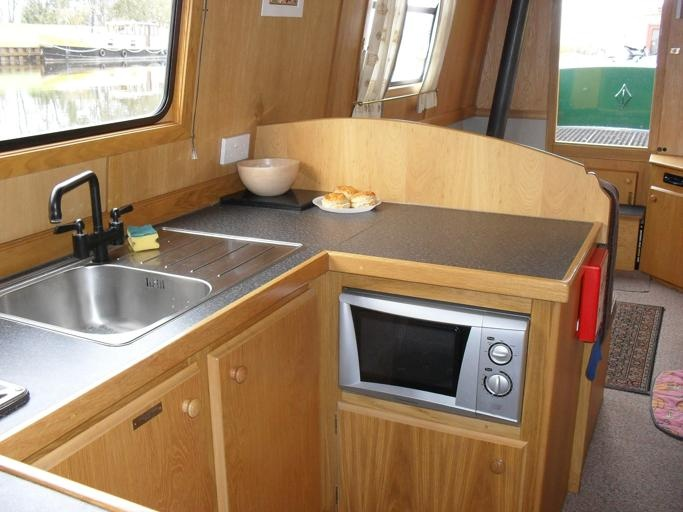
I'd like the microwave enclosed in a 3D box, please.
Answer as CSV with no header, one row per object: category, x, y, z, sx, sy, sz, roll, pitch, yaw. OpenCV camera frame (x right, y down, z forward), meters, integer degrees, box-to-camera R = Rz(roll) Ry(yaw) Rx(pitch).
microwave,0.316,0.343,1.743,0.622,0.407,0.415,8,16,25

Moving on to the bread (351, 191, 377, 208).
bread,0.092,-0.264,2.305,0.082,0.043,0.083,9,25,26

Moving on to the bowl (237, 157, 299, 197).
bowl,-0.368,-0.391,2.559,0.289,0.171,0.257,-1,20,-11

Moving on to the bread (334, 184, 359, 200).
bread,0.018,-0.302,2.392,0.081,0.026,0.085,1,21,-7

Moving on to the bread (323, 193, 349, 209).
bread,-0.034,-0.249,2.322,0.079,0.043,0.080,10,16,43
